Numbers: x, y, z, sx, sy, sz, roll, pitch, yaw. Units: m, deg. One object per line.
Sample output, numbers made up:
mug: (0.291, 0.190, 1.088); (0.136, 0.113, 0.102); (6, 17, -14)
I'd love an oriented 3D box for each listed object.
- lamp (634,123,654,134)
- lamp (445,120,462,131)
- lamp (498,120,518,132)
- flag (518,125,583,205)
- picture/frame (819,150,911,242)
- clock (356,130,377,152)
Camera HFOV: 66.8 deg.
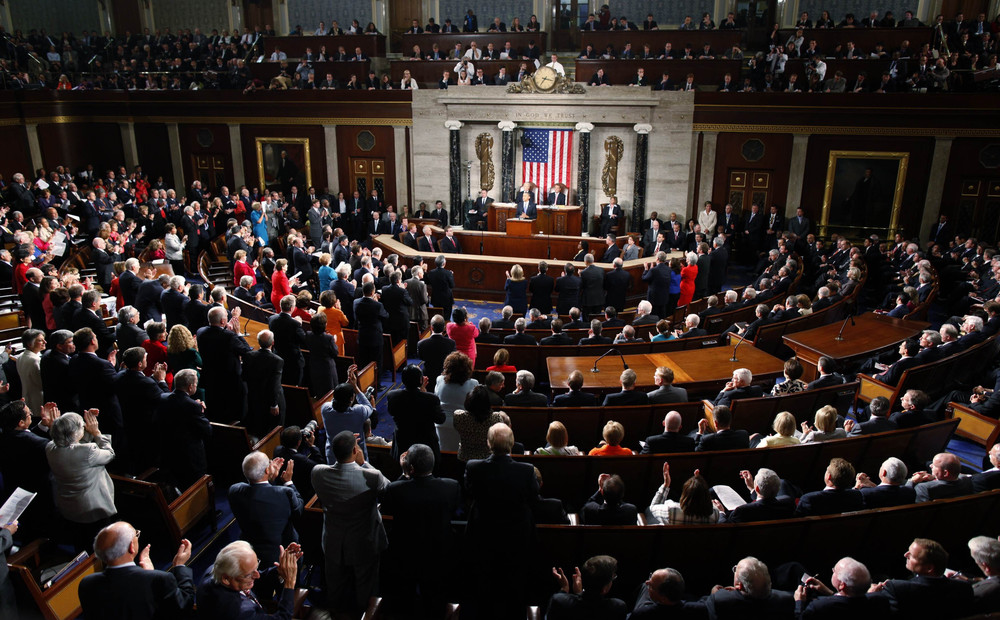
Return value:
lamp: (4.198, -5.308, 22.092); (0.534, 0.306, 0.222); (3, 13, 11)
lamp: (-1.388, -5.697, 23.214); (0.478, 0.321, 0.244); (-1, 13, -6)
lamp: (0.258, -5.573, 22.826); (0.504, 0.374, 0.243); (1, 13, 2)
flag: (1.580, -4.426, 22.718); (2.511, 3.242, 0.167); (1, 12, 6)
picture/frame: (10.281, -3.302, 21.164); (2.466, 2.972, 0.217); (7, 18, 12)
clock: (-4.228, -5.490, 24.182); (0.641, 0.663, 0.072); (-1, 13, 4)
